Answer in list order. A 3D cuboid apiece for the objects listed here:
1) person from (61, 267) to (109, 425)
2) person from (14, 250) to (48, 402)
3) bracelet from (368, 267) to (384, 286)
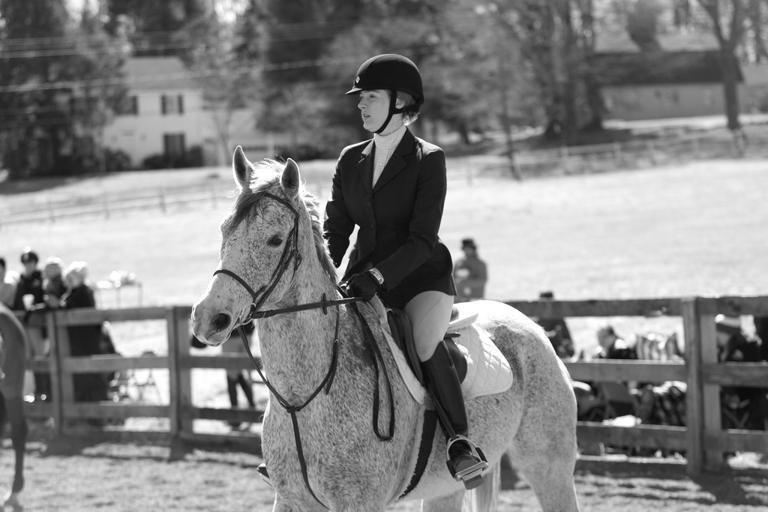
[{"bbox_3d":[-5.798,1.504,33.005,0.727,3.366,1.083,-4,-2,4],"label":"person"},{"bbox_3d":[-6.817,1.256,32.789,0.589,2.532,0.335,-5,2,-6],"label":"person"},{"bbox_3d":[-0.122,0.275,30.170,0.106,0.283,0.244,-34,23,-16],"label":"bracelet"}]
